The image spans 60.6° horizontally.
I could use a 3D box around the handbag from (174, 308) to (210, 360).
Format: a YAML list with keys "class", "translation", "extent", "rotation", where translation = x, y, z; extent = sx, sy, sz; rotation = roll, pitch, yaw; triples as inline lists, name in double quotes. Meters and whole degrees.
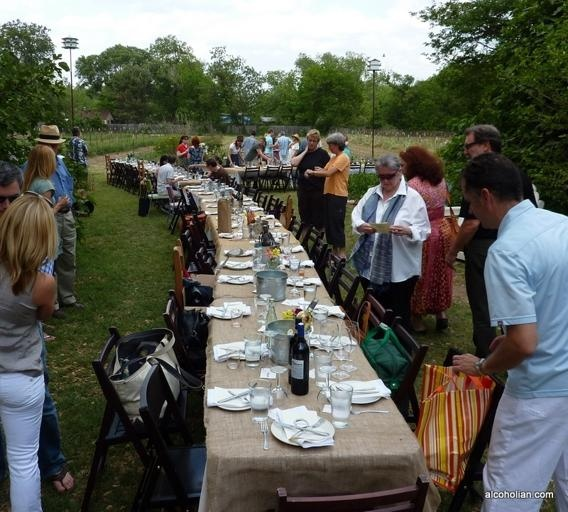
- class: "handbag"
  translation: [-0.653, 0.550, 3.583]
  extent: [0.241, 0.137, 0.340]
  rotation: [3, 14, -2]

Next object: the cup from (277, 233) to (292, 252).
- class: "cup"
  translation: [0.030, -0.162, 5.190]
  extent: [0.125, 0.245, 0.220]
  rotation: [-1, 2, 23]

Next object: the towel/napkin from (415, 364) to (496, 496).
- class: "towel/napkin"
  translation: [0.871, 0.916, 2.679]
  extent: [0.319, 0.575, 0.416]
  rotation: [8, 3, -6]

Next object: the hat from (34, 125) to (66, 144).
- class: "hat"
  translation: [-2.537, -1.303, 5.225]
  extent: [0.303, 0.139, 0.268]
  rotation: [17, 18, 41]

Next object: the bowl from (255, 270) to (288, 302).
- class: "bowl"
  translation: [-0.089, 0.210, 3.570]
  extent: [0.205, 0.186, 0.202]
  rotation: [2, 11, 0]

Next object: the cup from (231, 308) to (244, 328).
- class: "cup"
  translation: [-0.319, 0.426, 3.308]
  extent: [0.072, 0.099, 0.085]
  rotation: [1, 7, -3]

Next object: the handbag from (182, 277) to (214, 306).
- class: "handbag"
  translation: [-0.688, 0.298, 3.906]
  extent: [0.204, 0.099, 0.209]
  rotation: [14, 19, -28]

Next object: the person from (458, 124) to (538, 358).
- class: "person"
  translation: [1.541, -0.172, 3.945]
  extent: [0.476, 1.784, 0.502]
  rotation: [11, 31, 33]

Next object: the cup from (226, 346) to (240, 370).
- class: "cup"
  translation: [-0.281, 0.587, 2.797]
  extent: [0.090, 0.128, 0.075]
  rotation: [3, 3, -1]

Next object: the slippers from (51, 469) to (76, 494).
- class: "slippers"
  translation: [-1.375, 1.405, 3.033]
  extent: [0.081, 0.066, 0.150]
  rotation: [10, 18, -33]

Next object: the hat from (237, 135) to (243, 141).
- class: "hat"
  translation: [-1.348, -3.602, 14.894]
  extent: [0.141, 0.214, 0.201]
  rotation: [0, 17, -5]

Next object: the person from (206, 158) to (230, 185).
- class: "person"
  translation: [-1.387, -1.780, 10.223]
  extent: [0.457, 0.544, 0.868]
  rotation: [-4, 12, -22]

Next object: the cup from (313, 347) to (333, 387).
- class: "cup"
  translation: [0.191, 0.614, 2.612]
  extent: [0.116, 0.207, 0.129]
  rotation: [1, 0, -1]

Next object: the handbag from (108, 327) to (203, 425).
- class: "handbag"
  translation: [-0.778, 0.700, 2.850]
  extent: [0.300, 0.434, 0.406]
  rotation: [1, 26, 22]

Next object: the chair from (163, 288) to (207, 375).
- class: "chair"
  translation: [-0.683, 0.540, 3.397]
  extent: [0.287, 0.536, 0.299]
  rotation: [3, 42, -2]

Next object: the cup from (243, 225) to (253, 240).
- class: "cup"
  translation: [-0.431, -0.277, 5.779]
  extent: [0.150, 0.197, 0.156]
  rotation: [1, 0, 0]

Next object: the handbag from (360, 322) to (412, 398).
- class: "handbag"
  translation: [0.591, 0.621, 3.037]
  extent: [0.234, 0.421, 0.388]
  rotation: [-4, 20, -10]

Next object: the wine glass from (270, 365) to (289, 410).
- class: "wine glass"
  translation: [-0.029, 0.648, 2.476]
  extent: [0.116, 0.153, 0.125]
  rotation: [0, 1, 15]

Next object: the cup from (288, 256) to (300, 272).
- class: "cup"
  translation: [0.085, 0.055, 4.120]
  extent: [0.087, 0.117, 0.097]
  rotation: [0, 0, -2]

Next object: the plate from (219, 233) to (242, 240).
- class: "plate"
  translation: [-0.636, -0.232, 5.767]
  extent: [0.272, 0.041, 0.268]
  rotation: [-1, 11, -7]

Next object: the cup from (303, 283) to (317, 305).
- class: "cup"
  translation: [0.192, 0.269, 3.598]
  extent: [0.098, 0.126, 0.107]
  rotation: [2, 4, 0]

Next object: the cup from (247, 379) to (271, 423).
- class: "cup"
  translation: [-0.110, 0.683, 2.304]
  extent: [0.125, 0.237, 0.137]
  rotation: [0, 9, 0]

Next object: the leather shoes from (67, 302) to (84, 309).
- class: "leather shoes"
  translation: [-2.440, 0.570, 5.731]
  extent: [0.198, 0.100, 0.072]
  rotation: [-2, 12, -12]

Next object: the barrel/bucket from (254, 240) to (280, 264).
- class: "barrel/bucket"
  translation: [-0.142, -0.030, 4.175]
  extent: [0.178, 0.228, 0.214]
  rotation: [0, 6, -9]

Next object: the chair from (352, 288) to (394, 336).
- class: "chair"
  translation: [0.659, 0.411, 3.595]
  extent: [0.151, 0.274, 0.149]
  rotation: [15, 21, -28]

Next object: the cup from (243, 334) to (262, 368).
- class: "cup"
  translation: [-0.176, 0.538, 2.766]
  extent: [0.100, 0.184, 0.107]
  rotation: [1, 13, 0]

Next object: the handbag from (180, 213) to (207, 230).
- class: "handbag"
  translation: [-1.305, -0.499, 7.063]
  extent: [0.376, 0.211, 0.522]
  rotation: [-2, 3, -14]

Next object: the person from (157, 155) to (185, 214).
- class: "person"
  translation: [-2.546, -1.614, 11.112]
  extent: [0.494, 1.423, 0.695]
  rotation: [9, 9, 35]

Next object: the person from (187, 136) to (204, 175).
- class: "person"
  translation: [-2.661, -2.889, 14.579]
  extent: [0.401, 1.420, 0.391]
  rotation: [-10, 33, -28]

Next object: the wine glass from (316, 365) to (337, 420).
- class: "wine glass"
  translation: [0.235, 0.662, 2.573]
  extent: [0.125, 0.131, 0.217]
  rotation: [-3, 3, 2]

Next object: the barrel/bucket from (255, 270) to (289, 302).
- class: "barrel/bucket"
  translation: [-0.093, 0.196, 3.604]
  extent: [0.229, 0.195, 0.176]
  rotation: [-9, 17, -41]

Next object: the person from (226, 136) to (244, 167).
- class: "person"
  translation: [-1.524, -3.331, 15.326]
  extent: [0.459, 0.957, 1.183]
  rotation: [-1, 11, -5]

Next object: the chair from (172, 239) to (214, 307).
- class: "chair"
  translation: [-0.879, 0.158, 4.708]
  extent: [0.421, 0.778, 0.393]
  rotation: [1, 27, -2]

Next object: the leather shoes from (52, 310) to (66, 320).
- class: "leather shoes"
  translation: [-2.492, 0.651, 5.394]
  extent: [0.084, 0.113, 0.235]
  rotation: [0, -1, -31]

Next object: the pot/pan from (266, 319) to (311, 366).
- class: "pot/pan"
  translation: [-0.005, 0.466, 2.684]
  extent: [0.195, 0.200, 0.244]
  rotation: [1, 1, -1]
